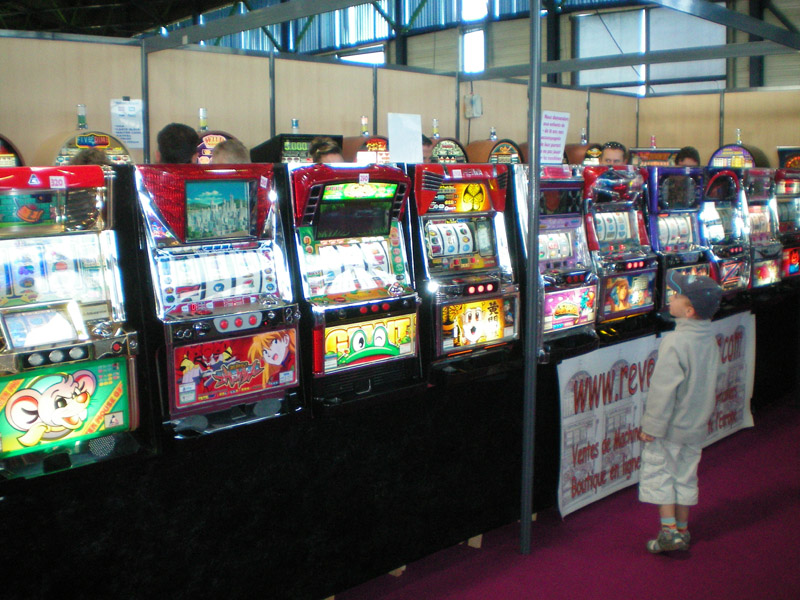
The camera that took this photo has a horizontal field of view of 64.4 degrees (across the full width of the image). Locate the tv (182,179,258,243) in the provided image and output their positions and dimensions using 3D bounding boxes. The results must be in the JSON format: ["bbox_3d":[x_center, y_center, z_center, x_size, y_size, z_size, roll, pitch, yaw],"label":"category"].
[{"bbox_3d":[-0.759,-0.379,2.618,0.256,0.221,0.035,-6,8,-35],"label":"tv"}]

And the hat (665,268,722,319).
[{"bbox_3d":[1.548,-0.048,3.344,0.194,0.303,0.172,-25,1,-39],"label":"hat"}]

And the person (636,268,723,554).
[{"bbox_3d":[1.452,0.592,3.316,0.311,1.424,0.408,7,15,28],"label":"person"}]

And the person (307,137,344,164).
[{"bbox_3d":[-0.530,-1.077,4.499,0.227,0.171,1.164,-2,14,-8],"label":"person"}]

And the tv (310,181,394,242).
[{"bbox_3d":[-0.233,-0.414,2.884,0.312,0.193,0.017,-8,41,-34],"label":"tv"}]
